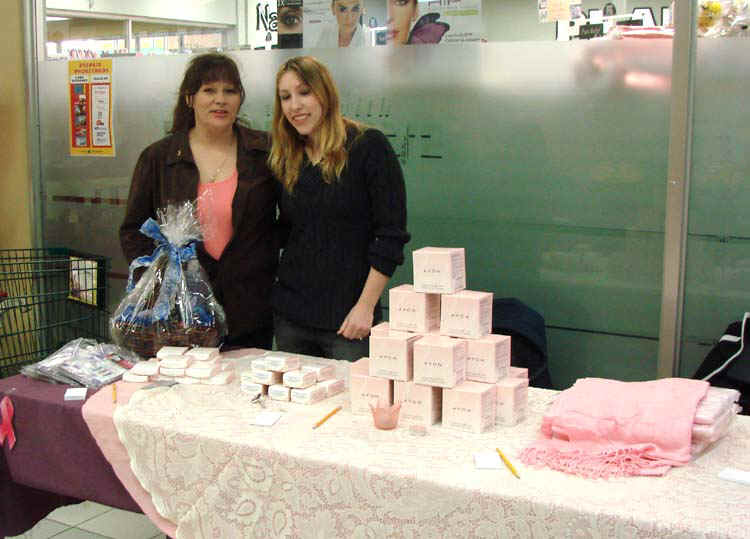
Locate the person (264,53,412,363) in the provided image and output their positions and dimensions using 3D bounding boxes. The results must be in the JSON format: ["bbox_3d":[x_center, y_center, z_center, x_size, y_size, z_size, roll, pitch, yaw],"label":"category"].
[{"bbox_3d":[-0.174,-0.243,2.708,0.669,1.323,0.380,4,15,12],"label":"person"}]

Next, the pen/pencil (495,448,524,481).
[{"bbox_3d":[0.382,0.566,1.782,0.018,0.019,0.169,-9,24,-17],"label":"pen/pencil"}]

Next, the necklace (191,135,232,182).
[{"bbox_3d":[-0.762,-0.519,2.943,0.198,0.199,0.062,-34,-11,-17],"label":"necklace"}]

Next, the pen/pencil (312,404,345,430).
[{"bbox_3d":[-0.166,0.503,2.120,0.027,0.026,0.229,30,24,9],"label":"pen/pencil"}]

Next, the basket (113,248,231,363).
[{"bbox_3d":[-0.899,0.202,2.745,0.532,0.523,0.532,6,-7,-34],"label":"basket"}]
